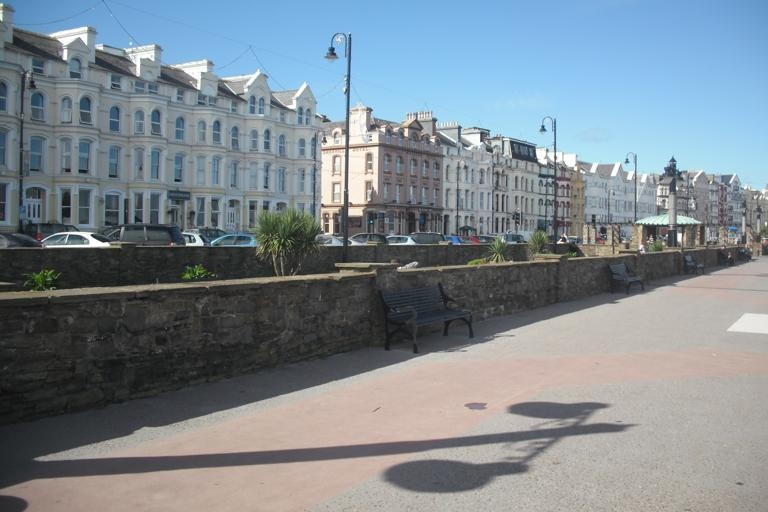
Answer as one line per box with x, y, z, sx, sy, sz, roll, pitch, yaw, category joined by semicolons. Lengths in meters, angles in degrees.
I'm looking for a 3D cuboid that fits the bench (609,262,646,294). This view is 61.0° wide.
8.599;0.702;23.543;1.530;1.228;1.158;-2;2;-44;bench

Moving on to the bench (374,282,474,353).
0.717;1.148;13.210;0.953;1.063;2.125;7;11;34;bench
